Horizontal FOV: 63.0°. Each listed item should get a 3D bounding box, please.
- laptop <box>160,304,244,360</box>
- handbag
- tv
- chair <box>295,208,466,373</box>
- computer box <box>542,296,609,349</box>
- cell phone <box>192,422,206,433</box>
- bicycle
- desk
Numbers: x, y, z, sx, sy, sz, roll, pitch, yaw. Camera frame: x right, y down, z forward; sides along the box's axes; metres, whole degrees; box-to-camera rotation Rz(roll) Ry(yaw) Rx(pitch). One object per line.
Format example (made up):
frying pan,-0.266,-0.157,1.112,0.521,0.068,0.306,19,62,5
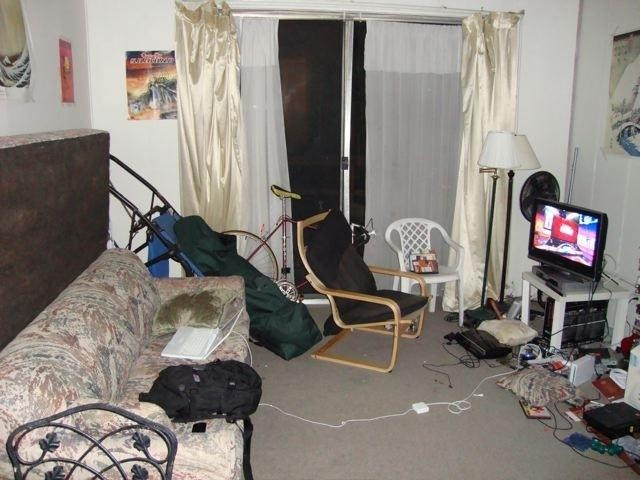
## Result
laptop,-0.810,0.620,3.427,0.259,0.179,0.284,10,25,3
handbag,-0.637,0.836,2.878,0.454,0.185,0.363,3,16,-13
tv,2.020,0.026,4.262,0.209,0.559,0.599,-3,15,-27
chair,0.347,0.383,4.355,1.014,1.123,0.855,3,19,14
computer box,2.141,0.683,4.355,0.359,0.383,0.216,-6,21,-11
cell phone,-0.623,0.965,2.677,0.072,0.013,0.068,-3,20,-4
bicycle,-0.091,0.022,5.417,1.770,1.222,0.750,11,5,-10
desk,2.092,0.459,4.296,0.642,0.536,0.652,12,17,40
